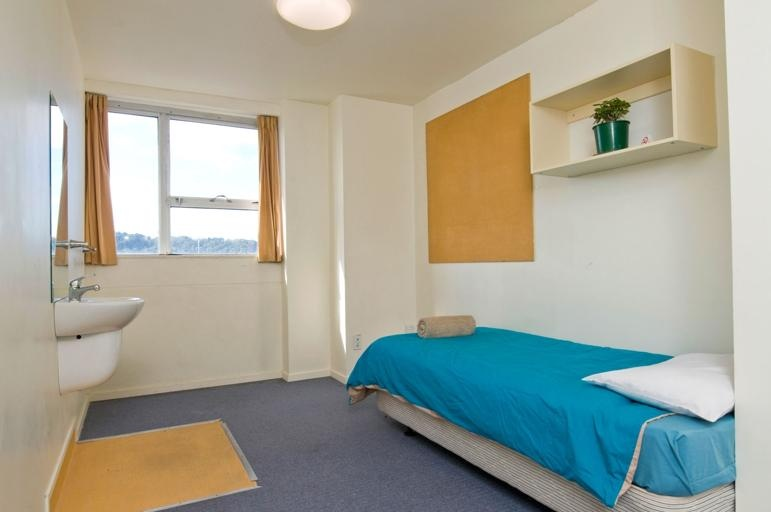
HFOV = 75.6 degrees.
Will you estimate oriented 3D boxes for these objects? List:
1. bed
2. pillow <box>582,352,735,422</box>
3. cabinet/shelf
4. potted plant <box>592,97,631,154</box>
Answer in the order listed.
[{"bbox_3d":[0.912,0.859,2.815,0.817,0.315,1.311,0,4,-36],"label":"bed"},{"bbox_3d":[1.405,0.685,2.557,0.467,0.082,0.316,-8,2,-37],"label":"pillow"},{"bbox_3d":[1.569,-0.949,3.400,0.390,0.704,1.142,-4,7,-38],"label":"cabinet/shelf"},{"bbox_3d":[1.541,-0.887,3.406,0.233,0.343,0.305,-1,4,34],"label":"potted plant"}]
